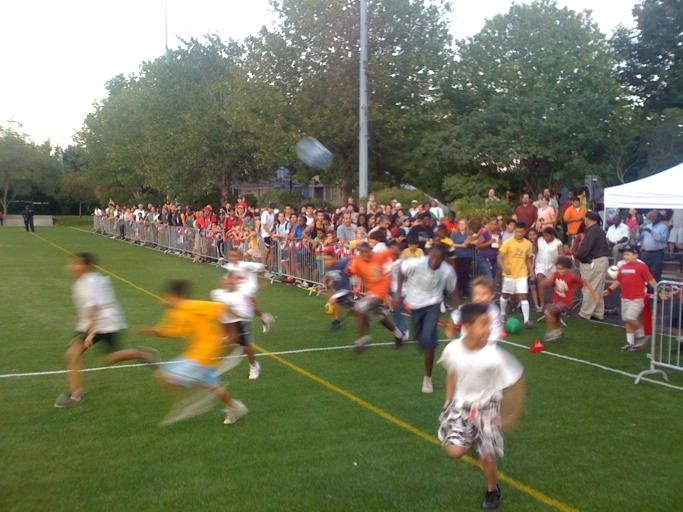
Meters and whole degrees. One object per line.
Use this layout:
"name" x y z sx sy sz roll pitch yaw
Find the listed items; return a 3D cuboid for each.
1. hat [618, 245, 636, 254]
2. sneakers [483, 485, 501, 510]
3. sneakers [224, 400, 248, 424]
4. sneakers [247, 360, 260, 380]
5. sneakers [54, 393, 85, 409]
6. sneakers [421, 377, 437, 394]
"hat" 4.909 -0.111 10.092 0.302 0.175 0.406 3 -2 13
"sneakers" 1.463 2.313 5.734 0.181 0.209 0.228 3 4 17
"sneakers" -1.340 1.917 7.379 0.282 0.308 0.284 1 4 -11
"sneakers" -1.328 1.712 8.873 0.163 0.249 0.175 1 4 -14
"sneakers" -3.564 1.875 7.697 0.343 0.167 0.163 7 -8 -4
"sneakers" 1.228 1.845 8.379 0.181 0.175 0.435 -1 -7 8
